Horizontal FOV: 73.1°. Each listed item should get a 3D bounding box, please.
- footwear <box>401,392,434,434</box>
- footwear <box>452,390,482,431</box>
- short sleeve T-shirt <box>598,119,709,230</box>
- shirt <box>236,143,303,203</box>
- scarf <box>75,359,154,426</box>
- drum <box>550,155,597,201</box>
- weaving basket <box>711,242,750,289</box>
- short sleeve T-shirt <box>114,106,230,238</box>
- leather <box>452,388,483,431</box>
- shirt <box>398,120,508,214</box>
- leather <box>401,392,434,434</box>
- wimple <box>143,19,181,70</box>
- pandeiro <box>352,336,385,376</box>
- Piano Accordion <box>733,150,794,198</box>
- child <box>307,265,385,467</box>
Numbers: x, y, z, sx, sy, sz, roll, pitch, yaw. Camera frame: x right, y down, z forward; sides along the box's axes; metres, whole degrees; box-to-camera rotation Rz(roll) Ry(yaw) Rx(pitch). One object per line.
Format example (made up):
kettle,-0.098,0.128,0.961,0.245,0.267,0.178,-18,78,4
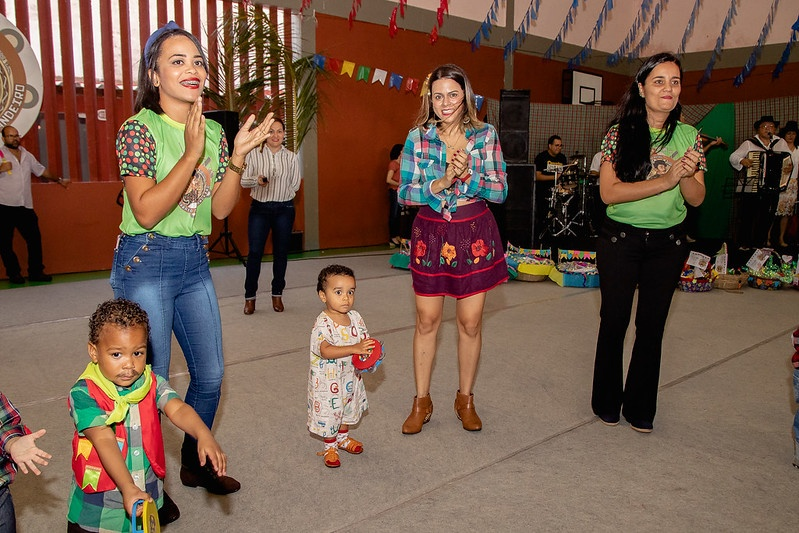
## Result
footwear,0.120,0.940,3.421,0.115,0.138,0.304,-2,6,30
footwear,0.416,0.923,3.436,0.106,0.137,0.300,-3,10,-14
short sleeve T-shirt,1.514,-0.544,3.227,0.587,0.622,0.403,4,14,15
shirt,-1.366,-0.867,5.905,0.876,0.885,0.516,0,0,-20
scarf,-1.121,0.507,2.139,0.207,0.276,0.101,20,-27,-28
drum,3.329,-1.685,10.371,0.922,0.853,0.723,3,2,-39
weaving basket,4.227,0.020,6.868,0.389,0.509,0.651,9,16,35
short sleeve T-shirt,-1.017,-0.410,2.450,0.500,0.584,0.304,-7,15,-28
leather,0.427,0.924,3.444,0.106,0.136,0.299,-4,10,-13
shirt,0.294,-0.565,3.326,0.805,0.769,0.478,0,10,-3
leather,0.124,0.938,3.411,0.115,0.141,0.305,-2,6,30
wimple,-1.105,-1.016,2.476,0.151,0.225,0.191,-6,15,-25
pandeiro,-0.169,0.515,2.943,0.184,0.192,0.050,-28,-48,33
Piano Accordion,5.837,-1.478,8.585,0.683,0.705,0.517,11,17,40
child,-0.339,0.561,3.062,0.378,1.106,0.300,-3,13,-10
